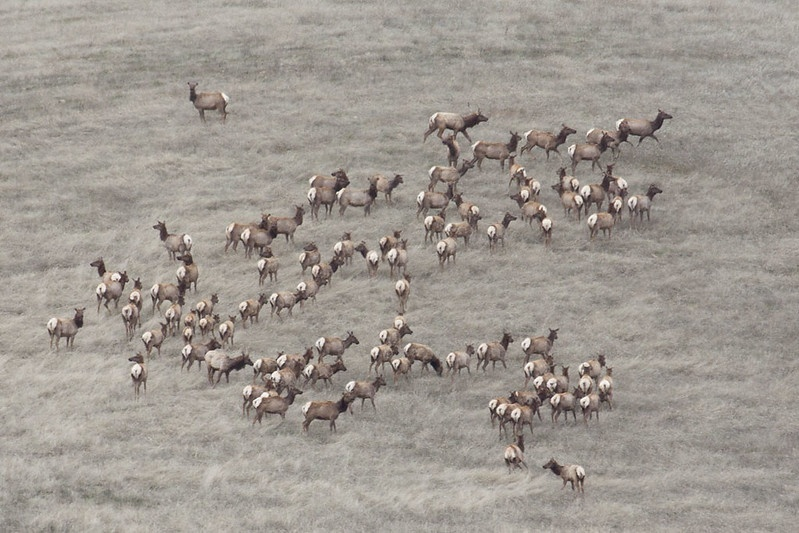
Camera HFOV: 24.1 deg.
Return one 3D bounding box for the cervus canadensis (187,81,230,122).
[{"bbox_3d":[-9.651,-8.524,94.457,1.864,2.142,2.226,-11,40,-7],"label":"cervus canadensis"}]
